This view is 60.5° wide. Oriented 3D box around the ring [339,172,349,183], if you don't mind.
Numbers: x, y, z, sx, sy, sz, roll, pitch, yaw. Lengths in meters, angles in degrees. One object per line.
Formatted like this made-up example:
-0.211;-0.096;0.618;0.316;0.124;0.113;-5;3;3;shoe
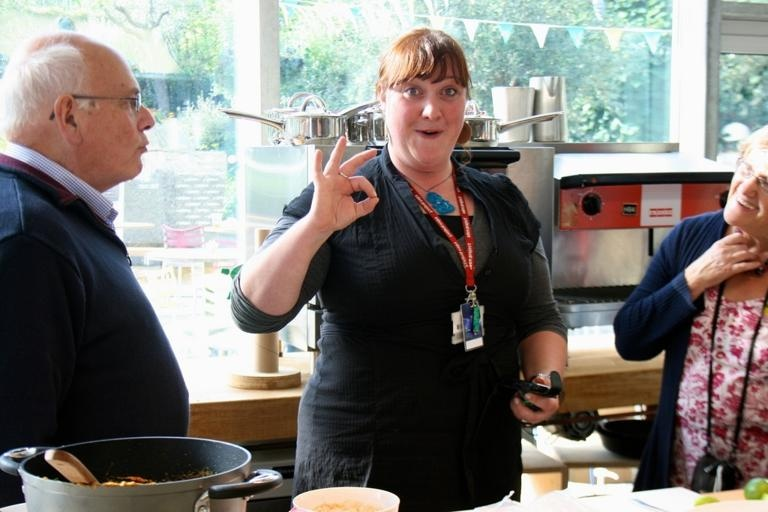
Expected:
-0.092;-0.186;1.535;0.021;0.023;0.042;-1;7;1;ring

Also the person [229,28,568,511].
0.068;0.030;1.717;0.911;1.234;0.375;-2;8;-12;person
